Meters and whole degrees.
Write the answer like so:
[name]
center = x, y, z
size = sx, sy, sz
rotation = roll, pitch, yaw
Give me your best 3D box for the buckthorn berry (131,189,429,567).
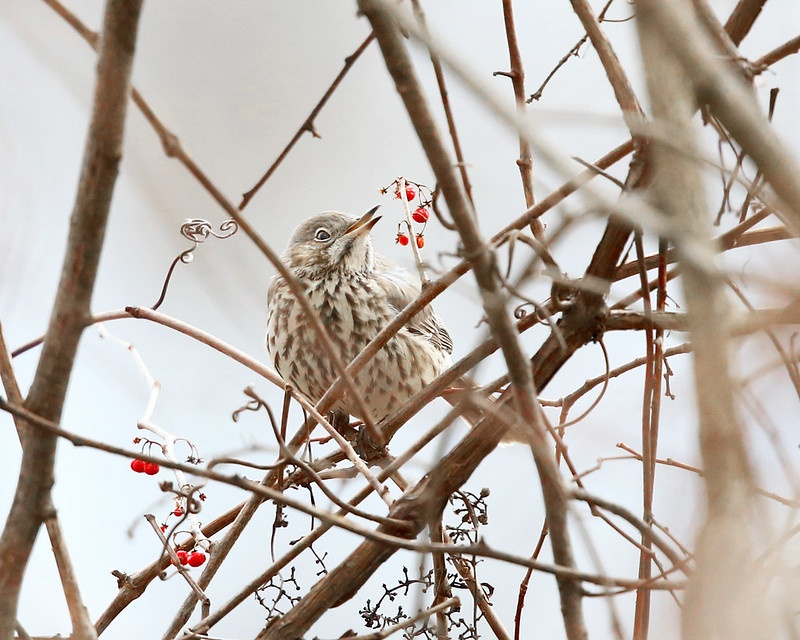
[buckthorn berry]
center = -0.300, 0.013, 4.148
size = 0.583, 0.970, 0.982
rotation = -19, -99, 24
